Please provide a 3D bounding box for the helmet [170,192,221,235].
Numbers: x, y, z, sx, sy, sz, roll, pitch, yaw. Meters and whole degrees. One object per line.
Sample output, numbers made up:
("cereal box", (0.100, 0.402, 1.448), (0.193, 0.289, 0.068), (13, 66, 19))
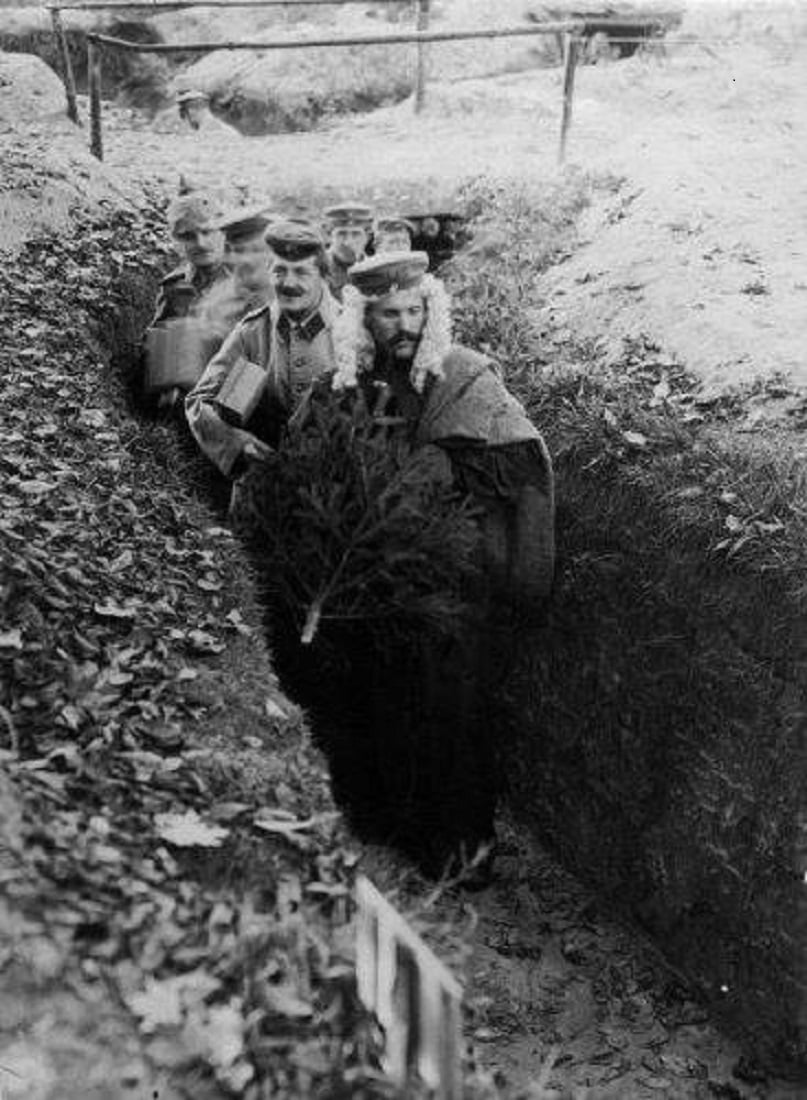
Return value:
("helmet", (-0.572, -0.938, 3.162), (0.104, 0.105, 0.135), (-17, 30, -22))
